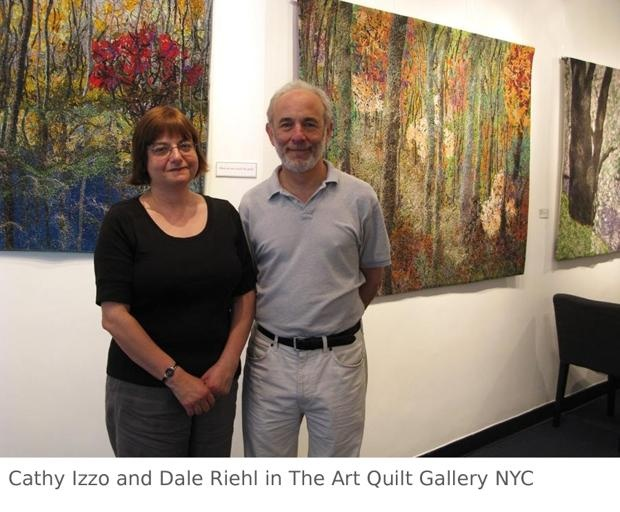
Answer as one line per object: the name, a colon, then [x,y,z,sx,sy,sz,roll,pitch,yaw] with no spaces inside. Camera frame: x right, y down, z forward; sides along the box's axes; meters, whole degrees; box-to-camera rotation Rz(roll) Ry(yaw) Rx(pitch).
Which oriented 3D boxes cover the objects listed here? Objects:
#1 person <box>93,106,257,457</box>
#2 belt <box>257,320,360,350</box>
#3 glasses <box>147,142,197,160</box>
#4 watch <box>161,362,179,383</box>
person: [-0.540,0.125,2.016,0.628,1.300,0.226,2,0,-8]
belt: [-0.002,0.355,2.220,0.483,0.119,0.145,2,0,-3]
glasses: [-0.552,-0.424,1.958,0.168,0.063,0.037,2,0,-16]
watch: [-0.548,0.452,1.914,0.044,0.077,0.070,30,-29,1]
